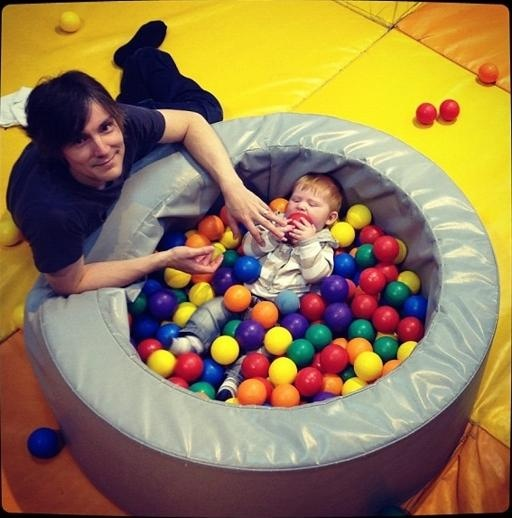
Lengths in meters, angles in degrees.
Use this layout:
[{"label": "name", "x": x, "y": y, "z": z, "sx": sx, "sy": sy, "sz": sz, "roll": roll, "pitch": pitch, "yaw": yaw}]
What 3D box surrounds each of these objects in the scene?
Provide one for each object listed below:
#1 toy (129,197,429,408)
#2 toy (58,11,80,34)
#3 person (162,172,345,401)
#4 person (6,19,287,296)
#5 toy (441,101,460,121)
[{"label": "toy", "x": 0.235, "y": 0.188, "z": 2.160, "sx": 0.911, "sy": 0.297, "sz": 0.929, "roll": -15, "pitch": 50, "yaw": -5}, {"label": "toy", "x": -1.098, "y": -1.389, "z": 2.862, "sx": 0.091, "sy": 0.093, "sz": 0.114, "roll": -26, "pitch": 86, "yaw": -15}, {"label": "person", "x": 0.134, "y": 0.009, "z": 2.229, "sx": 0.460, "sy": 0.444, "sz": 1.140, "roll": 26, "pitch": 80, "yaw": 38}, {"label": "person", "x": -0.565, "y": -0.387, "z": 1.922, "sx": 0.892, "sy": 0.565, "sz": 1.355, "roll": -19, "pitch": 62, "yaw": -31}, {"label": "toy", "x": 1.003, "y": -0.769, "z": 2.520, "sx": 0.072, "sy": 0.076, "sz": 0.091, "roll": 5, "pitch": 70, "yaw": -2}]
